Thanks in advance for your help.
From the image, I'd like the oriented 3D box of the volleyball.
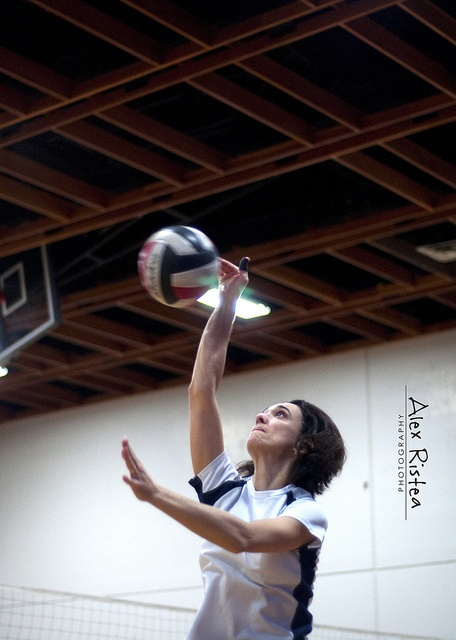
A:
[{"bbox_3d":[-0.097,-0.152,1.895,0.227,0.200,0.246,-14,-26,33],"label":"volleyball"}]
